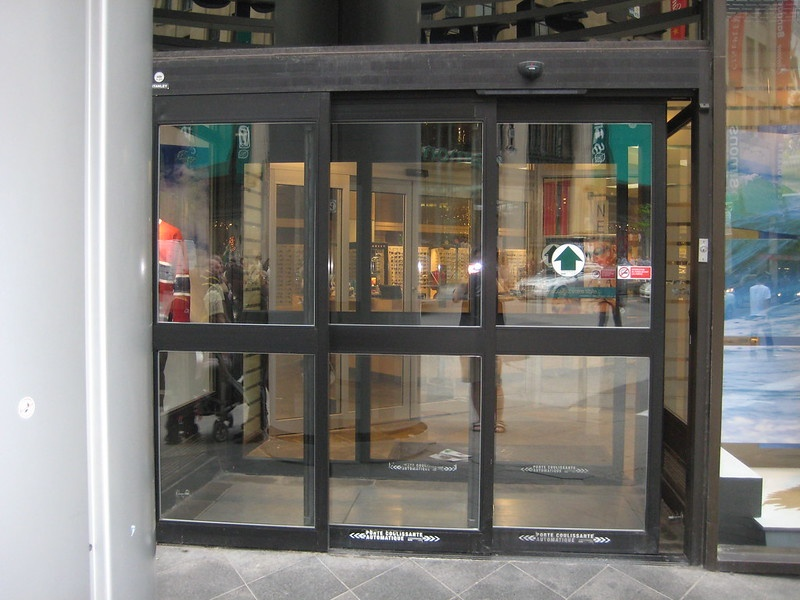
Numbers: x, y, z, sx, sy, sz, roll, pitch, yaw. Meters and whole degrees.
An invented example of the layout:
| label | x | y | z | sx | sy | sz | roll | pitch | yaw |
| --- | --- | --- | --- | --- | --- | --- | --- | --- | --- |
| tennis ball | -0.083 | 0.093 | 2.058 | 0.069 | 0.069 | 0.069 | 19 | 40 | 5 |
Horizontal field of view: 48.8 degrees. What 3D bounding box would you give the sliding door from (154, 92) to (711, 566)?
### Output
| label | x | y | z | sx | sy | sz | roll | pitch | yaw |
| --- | --- | --- | --- | --- | --- | --- | --- | --- | --- |
| sliding door | 0.103 | 0.028 | 6.665 | 3.713 | 3.353 | 1.358 | 1 | 3 | 5 |
